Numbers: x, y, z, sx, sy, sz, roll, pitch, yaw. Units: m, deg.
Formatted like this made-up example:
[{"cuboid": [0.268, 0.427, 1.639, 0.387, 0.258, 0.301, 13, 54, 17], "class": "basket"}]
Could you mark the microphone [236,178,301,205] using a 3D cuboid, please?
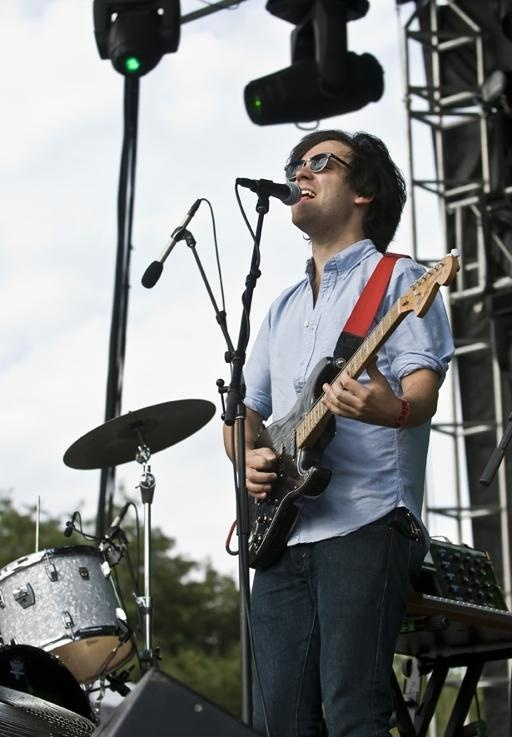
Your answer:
[{"cuboid": [0.060, -0.618, 4.922, 0.253, 0.082, 0.081, 6, -17, -25], "class": "microphone"}]

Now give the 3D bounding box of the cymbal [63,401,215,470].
[{"cuboid": [-0.454, 0.257, 5.618, 0.619, 0.256, 0.434, 1, -6, -20], "class": "cymbal"}]

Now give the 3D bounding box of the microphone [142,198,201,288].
[{"cuboid": [-0.298, -0.446, 5.070, 0.229, 0.302, 0.108, -2, -5, 9], "class": "microphone"}]

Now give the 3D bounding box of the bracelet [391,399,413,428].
[{"cuboid": [0.463, 0.137, 4.452, 0.028, 0.076, 0.064, 11, -3, -8], "class": "bracelet"}]

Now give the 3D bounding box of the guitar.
[{"cuboid": [0.441, 0.107, 4.806, 0.697, 1.009, 0.716, 0, 4, 28], "class": "guitar"}]
